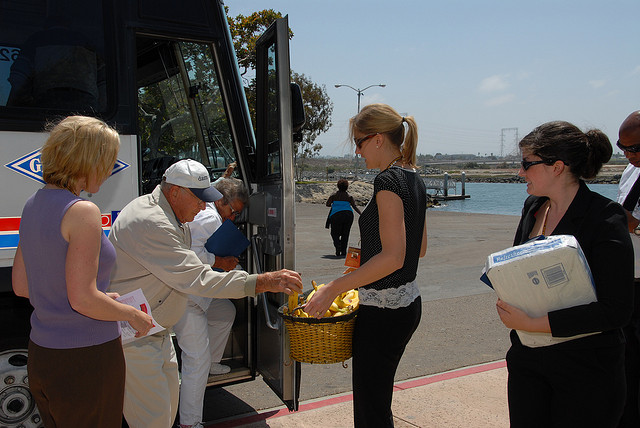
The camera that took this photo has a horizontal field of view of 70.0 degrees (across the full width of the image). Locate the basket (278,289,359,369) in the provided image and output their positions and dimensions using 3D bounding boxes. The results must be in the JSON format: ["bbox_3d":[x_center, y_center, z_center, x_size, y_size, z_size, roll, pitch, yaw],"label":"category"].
[{"bbox_3d":[0.039,0.899,3.432,0.594,0.461,0.533,3,-12,-20],"label":"basket"}]

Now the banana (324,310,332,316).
[{"bbox_3d":[0.056,0.737,3.361,0.067,0.018,0.060,-2,35,29],"label":"banana"}]

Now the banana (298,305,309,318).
[{"bbox_3d":[-0.122,0.727,3.378,0.079,0.073,0.066,-1,1,-15],"label":"banana"}]

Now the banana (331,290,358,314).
[{"bbox_3d":[0.188,0.692,3.525,0.226,0.091,0.192,-18,30,50],"label":"banana"}]

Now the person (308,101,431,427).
[{"bbox_3d":[0.331,0.357,3.174,0.793,2.214,0.576,0,7,10],"label":"person"}]

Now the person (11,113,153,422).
[{"bbox_3d":[-1.435,0.350,2.742,0.659,1.856,0.362,-4,7,-24],"label":"person"}]

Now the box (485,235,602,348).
[{"bbox_3d":[1.248,0.463,2.650,0.516,0.542,0.197,-18,6,7],"label":"box"}]
